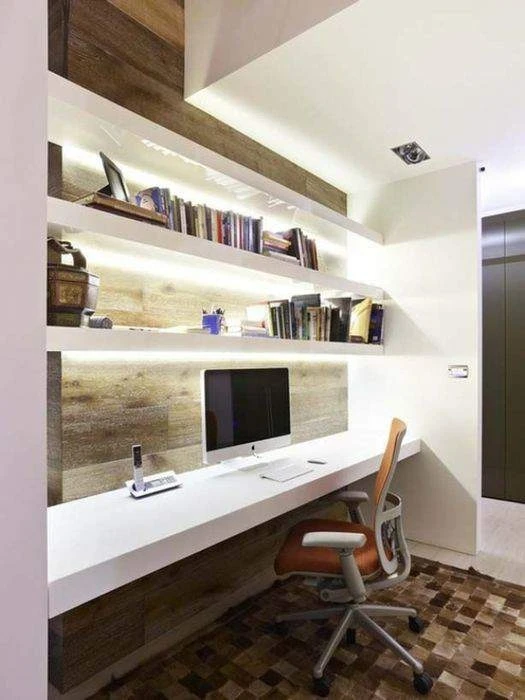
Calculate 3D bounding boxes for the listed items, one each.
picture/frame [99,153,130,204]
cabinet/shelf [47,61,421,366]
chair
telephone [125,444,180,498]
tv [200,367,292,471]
[{"bbox_3d":[-0.519,-0.611,1.843,0.061,0.164,0.173,-32,48,-26],"label":"picture/frame"},{"bbox_3d":[-0.045,-0.408,2.633,0.650,0.872,2.468,1,1,41],"label":"cabinet/shelf"},{"bbox_3d":[0.313,0.729,2.327,0.850,1.232,0.866,2,-3,11],"label":"chair"},{"bbox_3d":[-0.432,0.453,2.011,0.226,0.216,0.148,-7,14,-33],"label":"telephone"},{"bbox_3d":[-0.079,0.301,2.383,0.539,0.397,0.048,2,-10,-43],"label":"tv"}]
